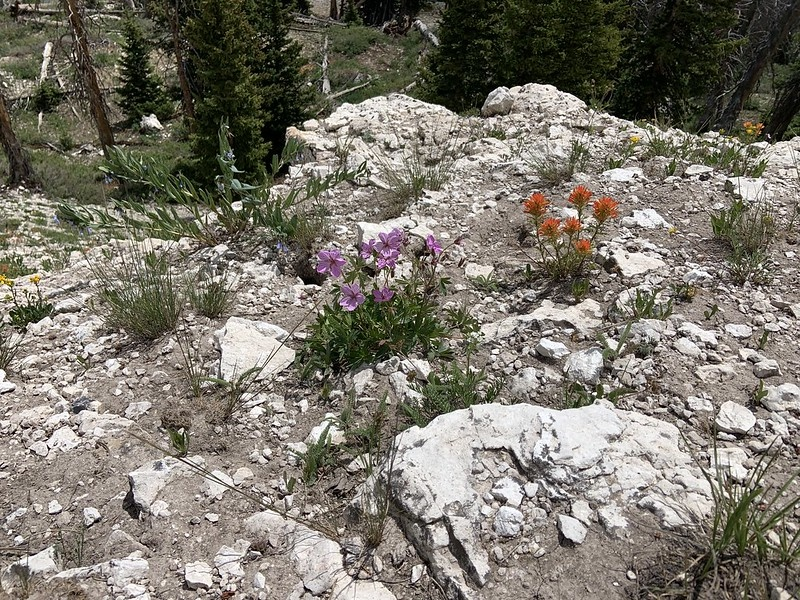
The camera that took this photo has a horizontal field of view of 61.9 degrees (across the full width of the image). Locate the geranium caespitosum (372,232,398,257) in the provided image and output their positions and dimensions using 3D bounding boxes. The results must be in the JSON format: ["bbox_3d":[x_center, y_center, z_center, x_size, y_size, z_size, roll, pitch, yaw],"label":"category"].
[{"bbox_3d":[-0.100,-0.432,5.222,0.226,0.152,0.153,1,36,-9],"label":"geranium caespitosum"}]

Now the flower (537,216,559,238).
[{"bbox_3d":[1.251,-0.627,5.649,0.155,0.194,0.188,11,69,13],"label":"flower"}]

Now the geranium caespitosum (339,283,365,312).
[{"bbox_3d":[-0.365,-0.030,5.118,0.213,0.198,0.171,-11,39,-24],"label":"geranium caespitosum"}]

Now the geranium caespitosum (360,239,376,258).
[{"bbox_3d":[-0.246,-0.411,5.319,0.145,0.077,0.170,-20,58,35],"label":"geranium caespitosum"}]

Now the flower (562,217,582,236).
[{"bbox_3d":[1.483,-0.630,5.729,0.116,0.143,0.131,24,64,22],"label":"flower"}]

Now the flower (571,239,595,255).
[{"bbox_3d":[1.565,-0.466,5.695,0.135,0.164,0.138,-21,29,-33],"label":"flower"}]
